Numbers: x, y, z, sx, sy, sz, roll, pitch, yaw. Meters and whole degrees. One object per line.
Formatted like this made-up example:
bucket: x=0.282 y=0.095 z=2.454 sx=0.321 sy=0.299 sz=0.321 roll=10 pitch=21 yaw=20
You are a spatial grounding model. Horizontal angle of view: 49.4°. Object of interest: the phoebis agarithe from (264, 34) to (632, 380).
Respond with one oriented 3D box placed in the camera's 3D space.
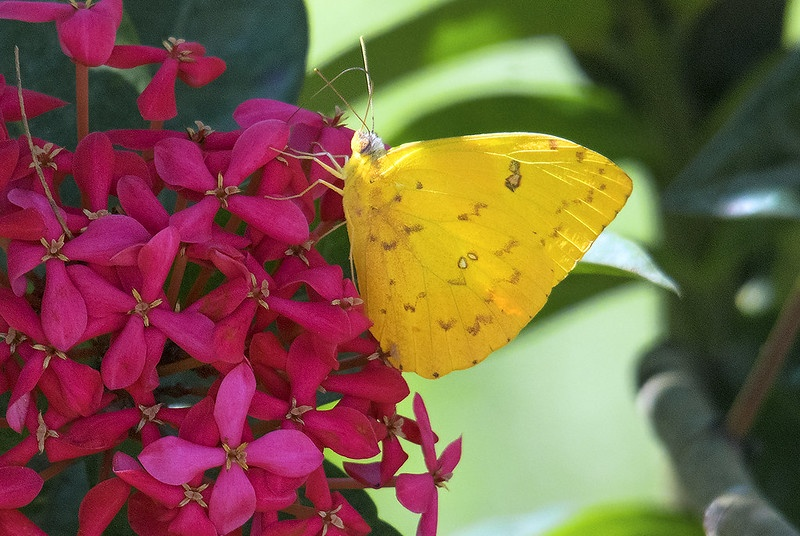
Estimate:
phoebis agarithe: x=0.070 y=-0.099 z=1.091 sx=0.385 sy=0.261 sz=0.359 roll=7 pitch=-14 yaw=46
